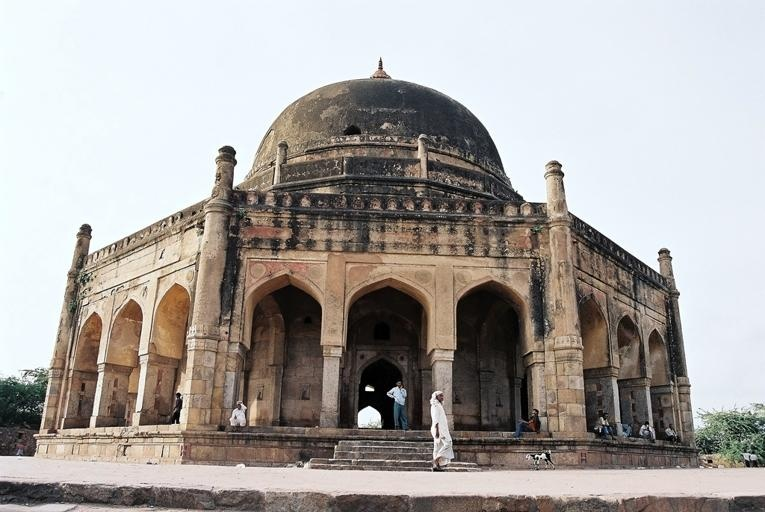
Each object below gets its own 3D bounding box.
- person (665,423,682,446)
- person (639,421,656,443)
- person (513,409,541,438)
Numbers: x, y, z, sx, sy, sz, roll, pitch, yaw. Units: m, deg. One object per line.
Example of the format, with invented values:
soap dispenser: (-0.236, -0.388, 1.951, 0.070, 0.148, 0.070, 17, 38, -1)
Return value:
person: (7.952, 4.882, 16.472, 0.368, 0.661, 1.386, -10, -25, 23)
person: (6.811, 4.555, 15.508, 0.355, 0.636, 1.312, -8, -25, 20)
person: (3.076, 3.538, 12.735, 0.814, 0.634, 0.354, 19, -29, -37)
